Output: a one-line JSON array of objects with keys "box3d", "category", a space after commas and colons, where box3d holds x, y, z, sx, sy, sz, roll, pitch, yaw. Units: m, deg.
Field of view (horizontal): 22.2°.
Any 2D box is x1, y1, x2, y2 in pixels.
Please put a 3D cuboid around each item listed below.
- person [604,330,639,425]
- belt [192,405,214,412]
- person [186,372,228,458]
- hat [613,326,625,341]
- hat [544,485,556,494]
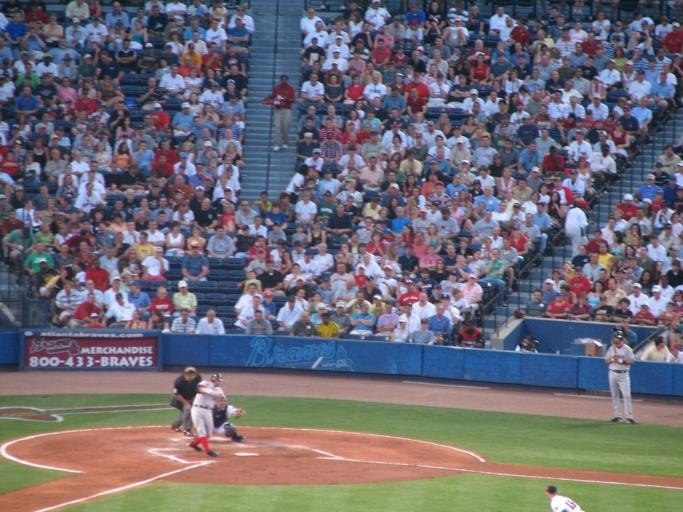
[{"box3d": [8.083, 3.403, 50.663, 0.893, 2.665, 1.043, 1, 5, 8], "category": "person"}, {"box3d": [-3.694, 4.054, 46.862, 0.524, 0.172, 0.164, -1, 5, -20], "category": "belt"}, {"box3d": [-3.598, 4.187, 47.015, 0.868, 2.110, 1.398, 0, 5, -5], "category": "person"}, {"box3d": [8.016, 2.176, 50.613, 0.348, 0.326, 0.265, 7, -7, 38], "category": "hat"}, {"box3d": [5.087, 5.638, 42.589, 0.175, 0.205, 0.209, 16, 38, 10], "category": "hat"}]
